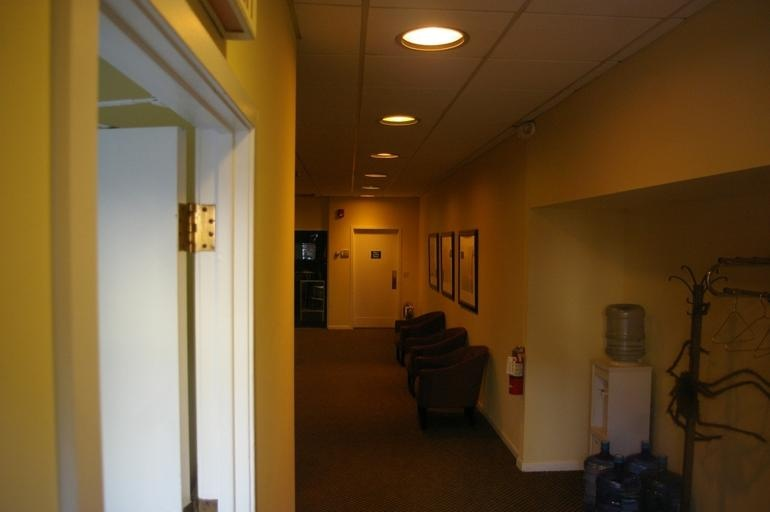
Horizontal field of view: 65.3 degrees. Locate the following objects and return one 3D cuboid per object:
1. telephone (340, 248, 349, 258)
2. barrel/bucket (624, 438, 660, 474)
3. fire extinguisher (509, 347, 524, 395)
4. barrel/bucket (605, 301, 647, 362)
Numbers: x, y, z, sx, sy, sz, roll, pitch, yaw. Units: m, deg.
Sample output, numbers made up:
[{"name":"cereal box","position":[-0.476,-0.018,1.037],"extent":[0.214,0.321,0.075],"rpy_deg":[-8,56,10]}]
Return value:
[{"name":"telephone","position":[-0.772,-0.045,11.136],"extent":[0.220,0.230,0.120],"rpy_deg":[0,0,-3]},{"name":"barrel/bucket","position":[1.610,1.262,3.869],"extent":[0.193,0.232,0.198],"rpy_deg":[2,-1,0]},{"name":"fire extinguisher","position":[1.016,0.888,4.703],"extent":[0.112,0.369,0.113],"rpy_deg":[0,3,-9]},{"name":"barrel/bucket","position":[1.667,0.535,4.268],"extent":[0.176,0.397,0.383],"rpy_deg":[0,3,-18]}]
